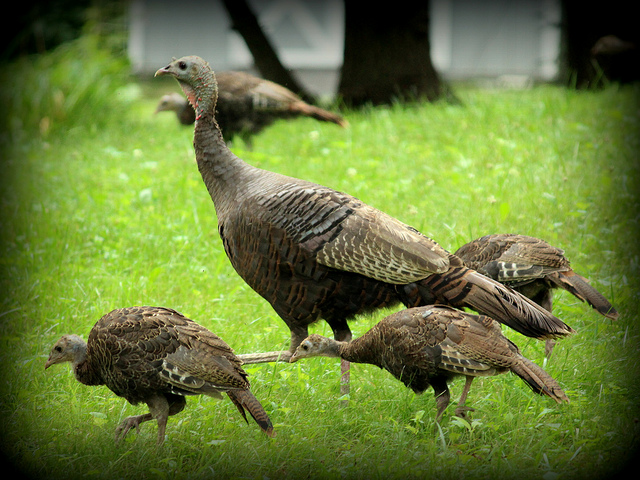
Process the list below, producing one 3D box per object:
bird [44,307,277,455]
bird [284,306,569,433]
[{"bbox_3d":[-1.071,0.949,5.087,1.589,0.872,0.466,2,16,17],"label":"bird"},{"bbox_3d":[0.722,0.873,5.126,1.782,0.872,0.452,-12,8,13],"label":"bird"}]
